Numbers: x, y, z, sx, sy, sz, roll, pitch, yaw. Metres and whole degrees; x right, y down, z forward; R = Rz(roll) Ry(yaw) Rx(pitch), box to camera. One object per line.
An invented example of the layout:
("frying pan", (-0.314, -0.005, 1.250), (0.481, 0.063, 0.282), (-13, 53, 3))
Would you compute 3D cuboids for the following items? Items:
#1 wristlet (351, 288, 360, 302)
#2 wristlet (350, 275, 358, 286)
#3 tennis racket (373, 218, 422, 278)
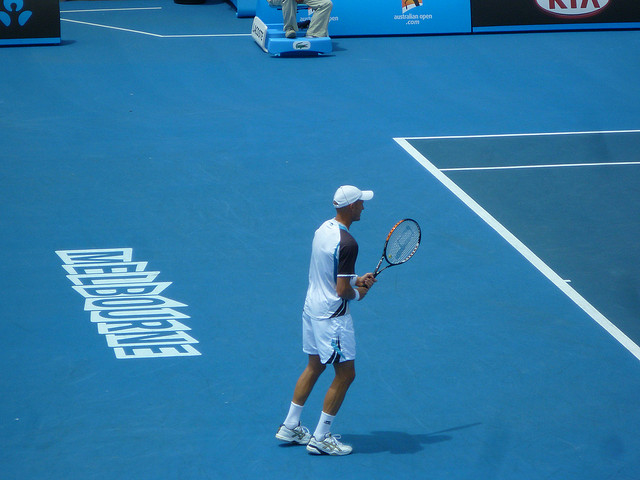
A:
("wristlet", (0.382, 0.560, 7.549), (0.110, 0.106, 0.108), (2, 18, 1))
("wristlet", (0.341, 0.416, 7.505), (0.075, 0.081, 0.090), (6, 13, -2))
("tennis racket", (0.857, 0.053, 7.835), (0.324, 0.707, 0.649), (14, 22, 15))
